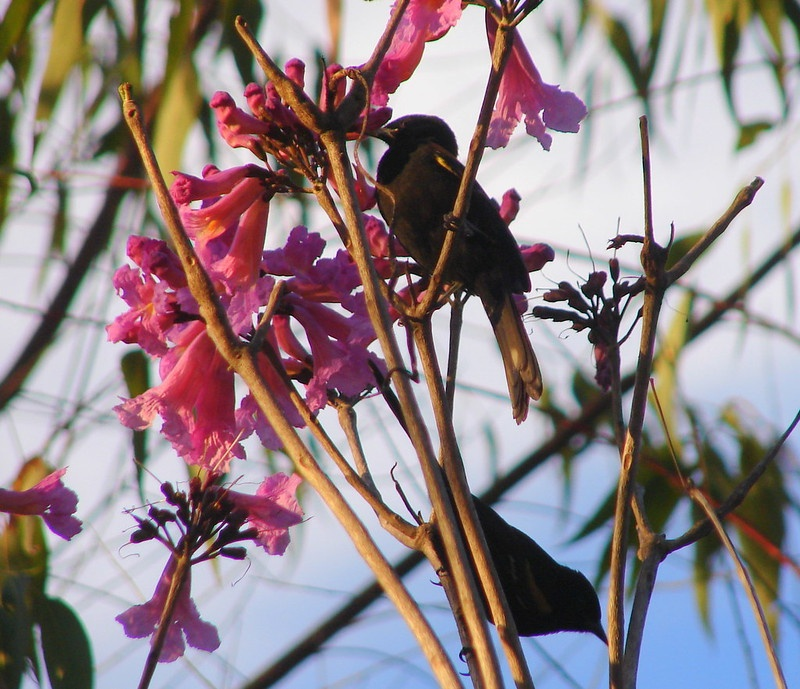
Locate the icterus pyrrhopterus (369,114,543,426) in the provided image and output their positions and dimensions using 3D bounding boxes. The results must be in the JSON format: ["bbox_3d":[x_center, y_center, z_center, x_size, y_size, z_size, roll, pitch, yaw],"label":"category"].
[{"bbox_3d":[0.183,-0.256,5.667,0.680,0.807,0.259,38,-61,-22],"label":"icterus pyrrhopterus"}]
